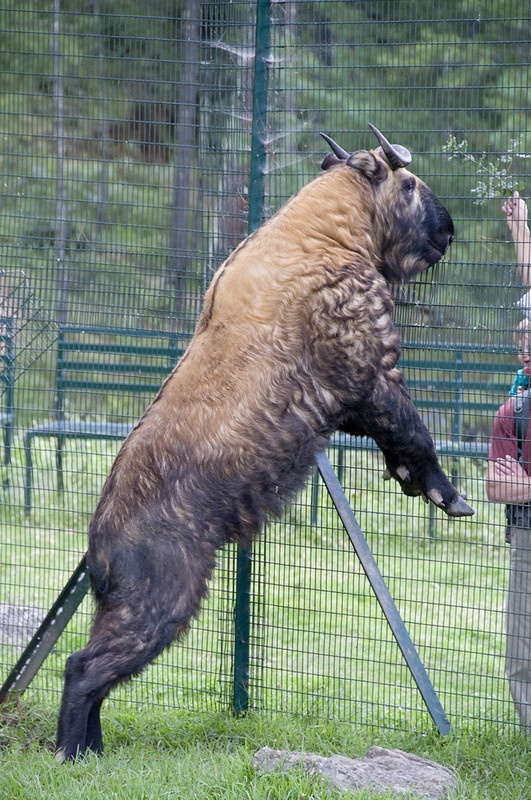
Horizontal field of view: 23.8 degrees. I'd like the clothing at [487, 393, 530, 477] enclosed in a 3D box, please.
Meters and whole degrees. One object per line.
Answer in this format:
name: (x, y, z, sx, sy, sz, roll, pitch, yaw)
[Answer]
clothing: (1.112, 0.136, 5.740, 0.216, 0.344, 0.324, 10, 3, 16)
